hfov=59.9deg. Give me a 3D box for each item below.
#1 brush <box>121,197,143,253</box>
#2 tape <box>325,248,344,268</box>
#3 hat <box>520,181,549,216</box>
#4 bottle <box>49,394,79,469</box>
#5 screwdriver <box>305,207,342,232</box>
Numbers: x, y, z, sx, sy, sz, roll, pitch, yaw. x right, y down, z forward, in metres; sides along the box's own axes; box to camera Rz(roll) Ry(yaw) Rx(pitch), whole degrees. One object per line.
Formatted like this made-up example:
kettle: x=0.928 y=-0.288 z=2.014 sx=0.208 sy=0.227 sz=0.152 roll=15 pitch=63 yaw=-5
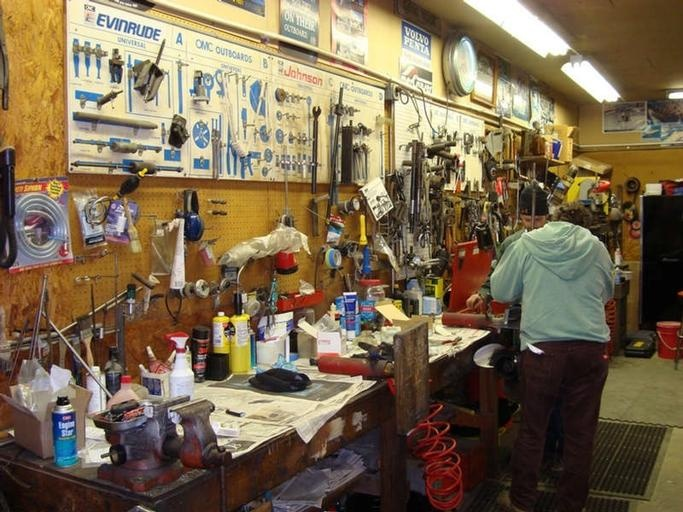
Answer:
brush: x=-1.029 y=-0.147 z=2.908 sx=0.081 sy=0.275 sz=0.050 roll=-3 pitch=6 yaw=-28
tape: x=-0.048 y=0.015 z=3.995 sx=0.044 sy=0.123 sz=0.112 roll=-2 pitch=3 yaw=12
hat: x=1.255 y=-0.379 z=3.933 sx=0.179 sy=0.208 sz=0.210 roll=-2 pitch=-11 yaw=3
bottle: x=-1.052 y=0.658 z=2.241 sx=0.082 sy=0.267 sz=0.070 roll=-3 pitch=6 yaw=-25
screwdriver: x=-0.108 y=-0.239 z=3.986 sx=0.199 sy=0.079 sz=0.126 roll=14 pitch=-8 yaw=3
